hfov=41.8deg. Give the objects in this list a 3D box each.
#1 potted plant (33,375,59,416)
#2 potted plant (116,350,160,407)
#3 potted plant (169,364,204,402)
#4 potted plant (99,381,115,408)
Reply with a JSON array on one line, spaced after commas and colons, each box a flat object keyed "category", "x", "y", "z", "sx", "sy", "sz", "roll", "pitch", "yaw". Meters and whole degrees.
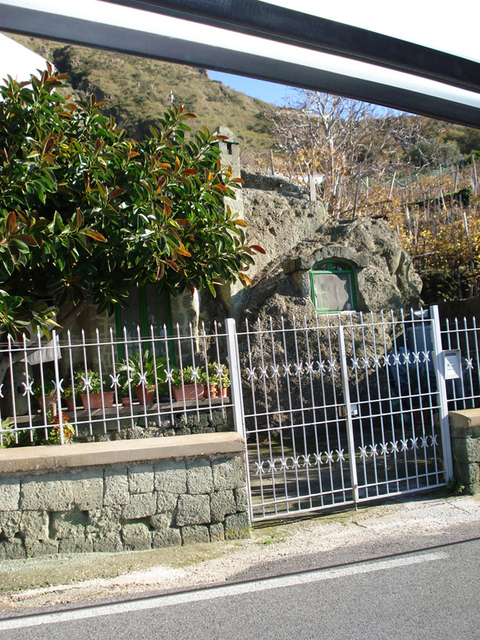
[{"category": "potted plant", "x": -2.307, "y": 0.897, "z": 7.405, "sx": 0.242, "sy": 0.474, "sz": 2.355, "roll": -2, "pitch": -7, "yaw": -19}, {"category": "potted plant", "x": -1.151, "y": 0.678, "z": 7.242, "sx": 0.757, "sy": 0.695, "sz": 0.718, "roll": 2, "pitch": -9, "yaw": -10}, {"category": "potted plant", "x": -0.616, "y": 0.749, "z": 7.262, "sx": 0.548, "sy": 0.379, "sz": 0.474, "roll": 1, "pitch": -10, "yaw": -6}, {"category": "potted plant", "x": -1.554, "y": 0.893, "z": 7.424, "sx": 0.284, "sy": 0.262, "sz": 0.336, "roll": 0, "pitch": 5, "yaw": -6}]
